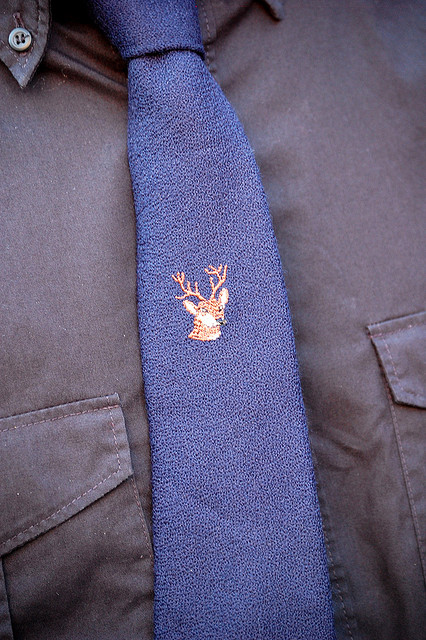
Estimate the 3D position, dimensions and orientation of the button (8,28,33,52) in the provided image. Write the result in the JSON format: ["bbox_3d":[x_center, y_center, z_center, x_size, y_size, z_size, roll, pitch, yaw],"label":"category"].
[{"bbox_3d":[-0.221,-0.328,0.706,0.027,0.007,0.025,-10,84,-2],"label":"button"}]
